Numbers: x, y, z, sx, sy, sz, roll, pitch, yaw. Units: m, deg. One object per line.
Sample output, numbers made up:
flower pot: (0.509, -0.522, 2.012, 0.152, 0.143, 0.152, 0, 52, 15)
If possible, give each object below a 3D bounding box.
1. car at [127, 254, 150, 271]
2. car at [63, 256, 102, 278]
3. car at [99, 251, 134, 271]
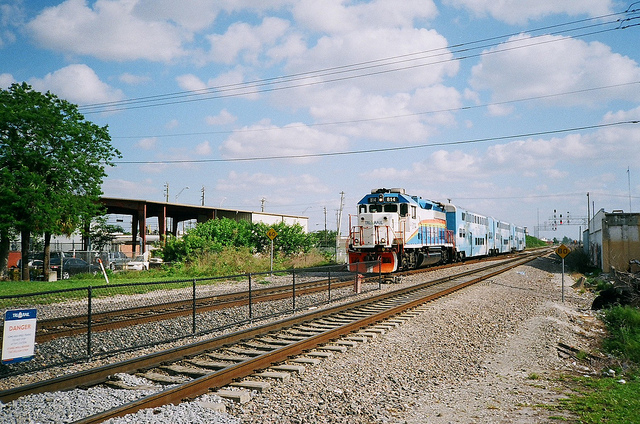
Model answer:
car: (-15.919, 4.402, 44.415, 1.149, 1.005, 2.094, -2, -12, 6)
car: (-16.937, 3.801, 36.133, 1.497, 1.442, 3.404, -1, -3, 36)
car: (-18.154, 4.358, 45.061, 1.970, 1.541, 3.413, -2, -13, 3)
